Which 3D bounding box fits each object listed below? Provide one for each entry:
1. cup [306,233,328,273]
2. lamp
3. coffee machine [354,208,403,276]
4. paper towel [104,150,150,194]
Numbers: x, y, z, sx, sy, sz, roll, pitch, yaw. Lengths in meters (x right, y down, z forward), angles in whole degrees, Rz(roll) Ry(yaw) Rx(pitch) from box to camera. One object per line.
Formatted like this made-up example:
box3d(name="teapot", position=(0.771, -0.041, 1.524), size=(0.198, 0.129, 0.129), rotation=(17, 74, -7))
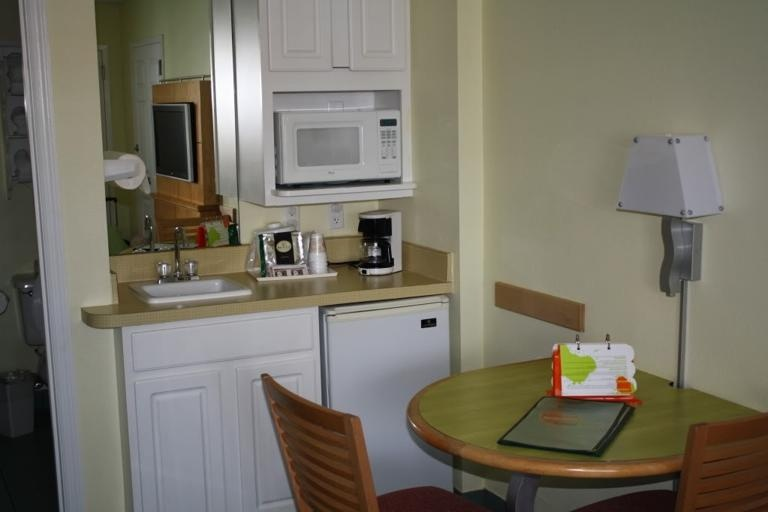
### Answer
box3d(name="cup", position=(-0.402, -0.021, 3.752), size=(0.113, 0.235, 0.086), rotation=(-2, 7, -2))
box3d(name="lamp", position=(1.126, 0.031, 2.516), size=(0.240, 1.015, 0.298), rotation=(-5, 8, -29))
box3d(name="coffee machine", position=(-0.023, -0.082, 3.793), size=(0.257, 0.378, 0.174), rotation=(-2, 7, -3))
box3d(name="paper towel", position=(-1.366, -0.444, 3.392), size=(0.254, 0.185, 0.186), rotation=(-3, 10, -39))
